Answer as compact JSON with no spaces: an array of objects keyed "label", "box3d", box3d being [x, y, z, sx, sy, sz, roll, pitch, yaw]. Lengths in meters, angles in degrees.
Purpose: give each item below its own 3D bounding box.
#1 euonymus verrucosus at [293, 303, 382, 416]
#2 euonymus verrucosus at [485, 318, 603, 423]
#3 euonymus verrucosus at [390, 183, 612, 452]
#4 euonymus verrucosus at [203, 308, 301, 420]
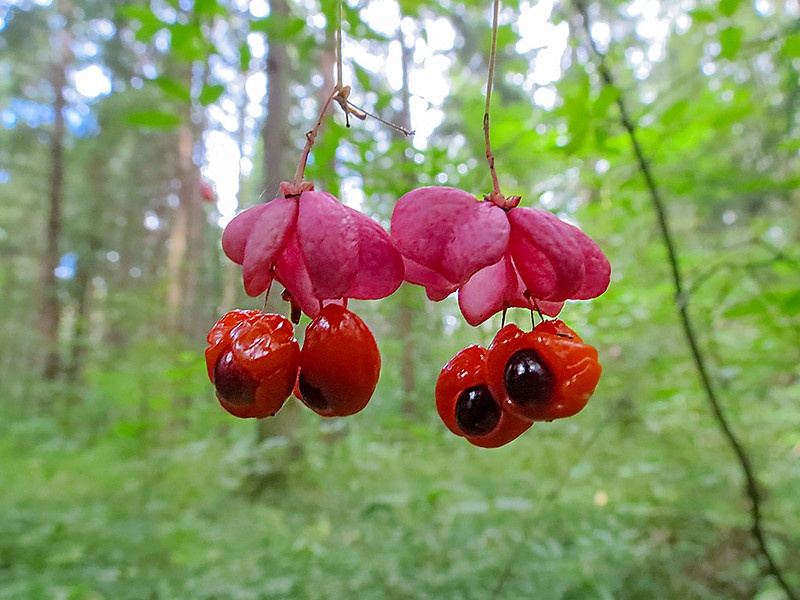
[{"label":"euonymus verrucosus","box3d":[-0.150,0.152,1.877,0.263,0.267,0.232,9,17,27]},{"label":"euonymus verrucosus","box3d":[0.385,0.165,1.833,0.311,0.240,0.252,-19,-12,38]},{"label":"euonymus verrucosus","box3d":[0.251,0.046,1.918,0.663,0.629,0.546,13,-20,-42]},{"label":"euonymus verrucosus","box3d":[-0.366,0.168,1.875,0.264,0.269,0.275,0,-9,17]}]
